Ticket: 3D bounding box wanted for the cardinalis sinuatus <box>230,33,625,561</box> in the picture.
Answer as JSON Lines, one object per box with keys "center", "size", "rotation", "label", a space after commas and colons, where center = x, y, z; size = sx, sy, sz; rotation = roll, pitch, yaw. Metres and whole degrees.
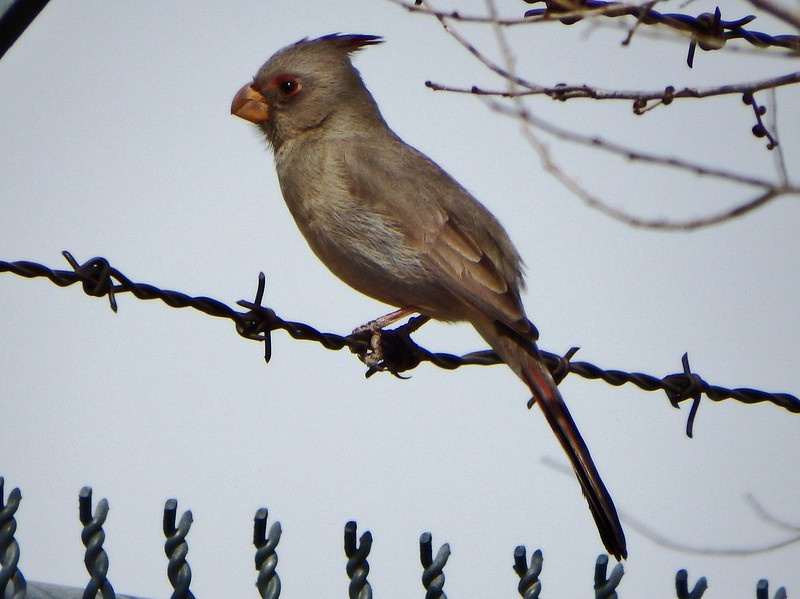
{"center": [0.177, -0.416, 6.804], "size": [2.280, 2.509, 1.370], "rotation": [-13, 11, -24], "label": "cardinalis sinuatus"}
